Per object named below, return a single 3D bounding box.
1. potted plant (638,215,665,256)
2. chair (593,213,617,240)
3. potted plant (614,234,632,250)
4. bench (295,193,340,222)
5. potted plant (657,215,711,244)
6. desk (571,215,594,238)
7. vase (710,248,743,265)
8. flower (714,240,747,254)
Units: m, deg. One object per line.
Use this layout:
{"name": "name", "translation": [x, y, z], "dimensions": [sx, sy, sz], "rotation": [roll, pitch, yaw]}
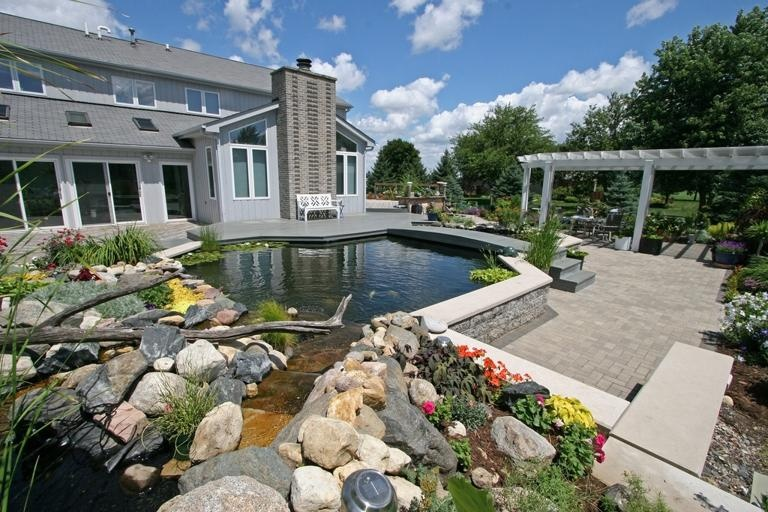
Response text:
{"name": "potted plant", "translation": [9.858, -0.952, 13.538], "dimensions": [0.758, 1.450, 0.664], "rotation": [4, 11, 18]}
{"name": "chair", "translation": [9.065, -1.278, 15.083], "dimensions": [0.948, 1.012, 1.224], "rotation": [3, 11, 17]}
{"name": "potted plant", "translation": [8.485, -0.509, 13.186], "dimensions": [0.497, 0.383, 0.548], "rotation": [-17, 23, -38]}
{"name": "bench", "translation": [-2.779, -2.136, 15.580], "dimensions": [0.703, 1.097, 1.968], "rotation": [10, 14, 43]}
{"name": "potted plant", "translation": [11.700, -1.100, 14.531], "dimensions": [1.435, 0.954, 1.342], "rotation": [-8, 13, -25]}
{"name": "desk", "translation": [8.584, -1.372, 15.963], "dimensions": [0.876, 0.824, 2.591], "rotation": [5, 10, 28]}
{"name": "vase", "translation": [10.030, -0.024, 10.823], "dimensions": [0.585, 0.323, 0.523], "rotation": [2, 4, 31]}
{"name": "flower", "translation": [10.214, -0.301, 10.875], "dimensions": [0.582, 0.296, 0.571], "rotation": [4, 10, 36]}
